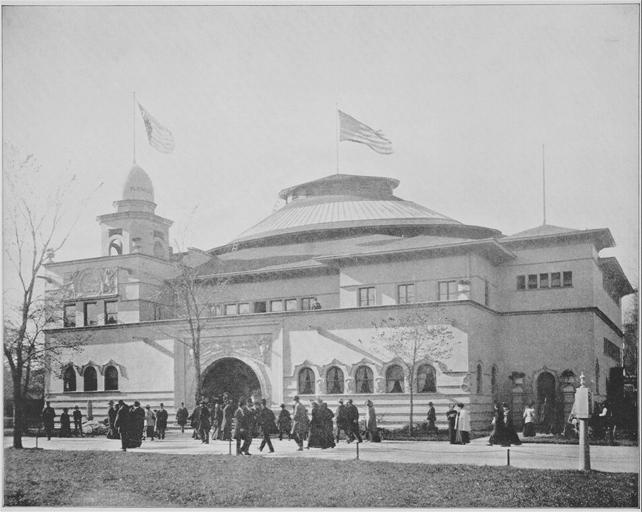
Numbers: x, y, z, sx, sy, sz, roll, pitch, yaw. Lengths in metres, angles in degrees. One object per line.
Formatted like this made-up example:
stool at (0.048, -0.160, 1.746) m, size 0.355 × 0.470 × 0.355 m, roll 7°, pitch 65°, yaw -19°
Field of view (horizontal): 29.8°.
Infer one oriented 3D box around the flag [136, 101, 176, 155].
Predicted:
flag at (-8.260, -6.147, 59.603) m, size 1.644 × 2.543 × 2.182 m, roll -4°, pitch -13°, yaw 18°
